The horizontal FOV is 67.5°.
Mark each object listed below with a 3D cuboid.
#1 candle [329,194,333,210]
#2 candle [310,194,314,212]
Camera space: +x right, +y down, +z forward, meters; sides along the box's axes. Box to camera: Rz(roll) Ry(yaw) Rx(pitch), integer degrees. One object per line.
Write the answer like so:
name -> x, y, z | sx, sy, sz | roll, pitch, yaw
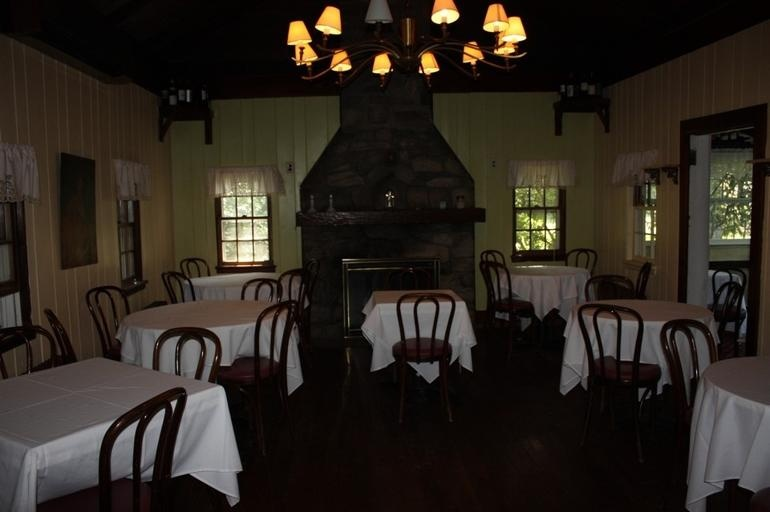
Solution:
candle -> -0.738, -0.752, 7.879 | 0.062, 0.225, 0.158 | 0, 3, -5
candle -> -1.008, -0.754, 7.900 | 0.072, 0.224, 0.144 | -1, 3, -12
